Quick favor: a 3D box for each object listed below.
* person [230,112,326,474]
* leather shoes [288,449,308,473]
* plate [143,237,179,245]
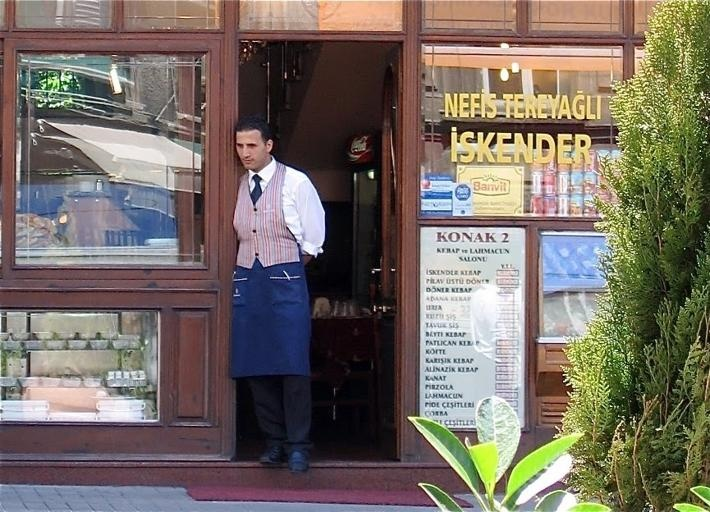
[{"bbox_3d":[-0.519,0.242,9.053,0.615,2.327,0.296,0,1,-5],"label":"person"},{"bbox_3d":[-0.374,1.350,8.986,0.130,0.144,0.098,-1,1,-9],"label":"leather shoes"},{"bbox_3d":[-1.320,-0.090,9.232,0.226,0.051,0.010,0,1,4],"label":"plate"}]
